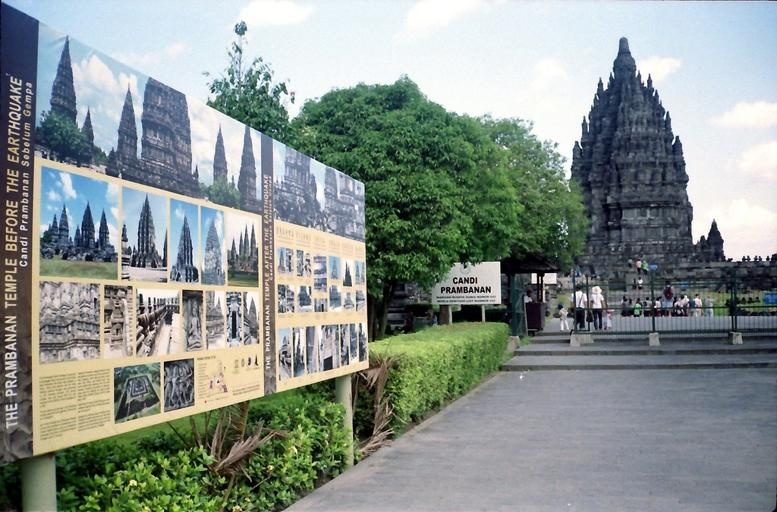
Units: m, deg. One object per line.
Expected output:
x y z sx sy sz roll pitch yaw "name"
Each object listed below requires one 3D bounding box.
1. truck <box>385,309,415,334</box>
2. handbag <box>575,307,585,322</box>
0.647 3.421 37.259 1.054 1.054 0.267 7 -18 -25 "truck"
8.222 2.538 31.119 0.332 0.696 0.937 5 0 19 "handbag"
